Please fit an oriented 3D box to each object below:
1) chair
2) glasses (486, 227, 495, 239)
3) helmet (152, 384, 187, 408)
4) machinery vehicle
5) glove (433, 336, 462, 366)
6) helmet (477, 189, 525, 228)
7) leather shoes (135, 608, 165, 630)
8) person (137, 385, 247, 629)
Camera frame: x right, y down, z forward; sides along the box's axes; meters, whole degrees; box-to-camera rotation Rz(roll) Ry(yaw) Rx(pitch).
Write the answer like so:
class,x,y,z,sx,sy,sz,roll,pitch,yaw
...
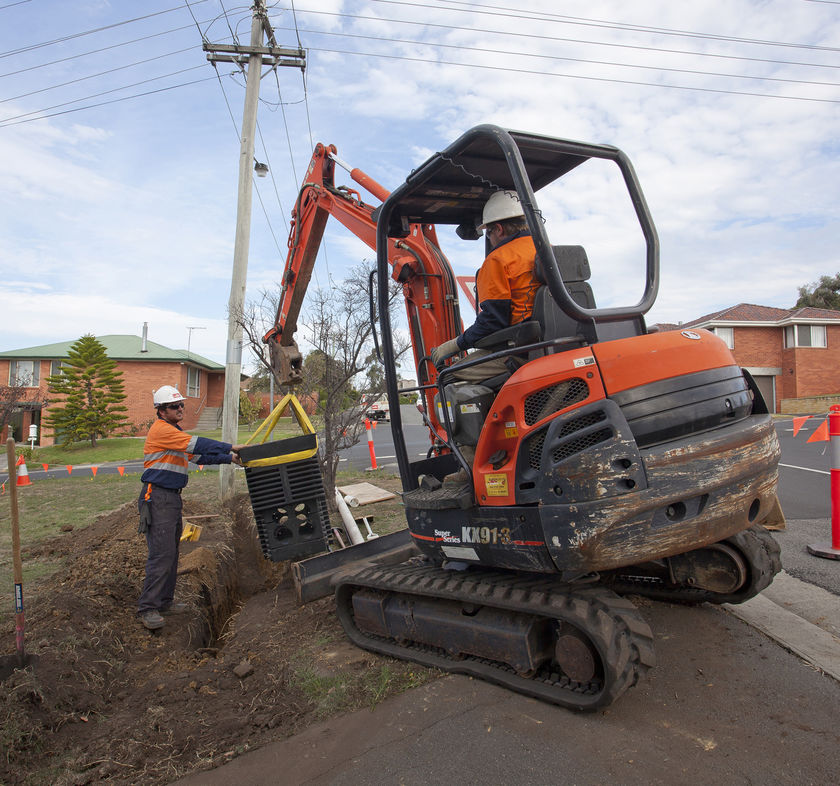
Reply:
class,x,y,z,sx,sy,sz,roll,pitch,yaw
chair,0.716,-0.512,3.357,0.547,0.597,0.604,-2,3,23
glasses,0.488,-1.117,4.172,0.059,0.051,0.041,4,6,-12
helmet,-2.325,0.022,5.456,0.287,0.114,0.199,-13,-1,34
machinery vehicle,0.254,-0.091,4.910,2.731,3.125,4.461,-17,10,-34
glove,0.170,-0.292,4.125,0.232,0.088,0.120,-23,29,33
helmet,0.559,-1.247,4.054,0.287,0.170,0.302,-6,9,19
leather shoes,-2.267,1.881,5.016,0.176,0.113,0.140,-8,5,-32
person,-2.168,0.928,5.345,0.967,1.991,0.718,-9,6,-26
